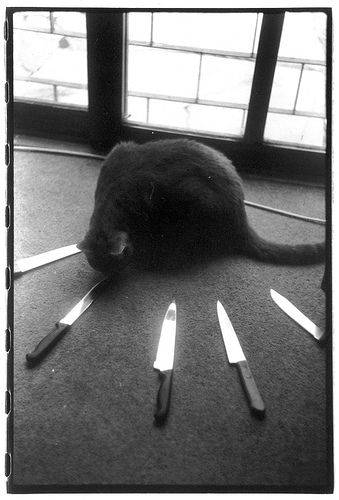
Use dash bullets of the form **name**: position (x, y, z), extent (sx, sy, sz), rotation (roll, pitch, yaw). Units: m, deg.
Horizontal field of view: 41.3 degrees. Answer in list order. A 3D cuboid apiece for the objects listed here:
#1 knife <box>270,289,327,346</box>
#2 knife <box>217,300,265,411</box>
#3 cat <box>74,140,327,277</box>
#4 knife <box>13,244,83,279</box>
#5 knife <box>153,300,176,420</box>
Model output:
- **knife**: position (0.183, 0.100, 0.646), extent (0.013, 0.010, 0.082), rotation (-30, 71, -18)
- **knife**: position (0.094, 0.147, 0.610), extent (0.025, 0.011, 0.185), rotation (-4, 55, -9)
- **cat**: position (0.038, -0.057, 0.657), extent (0.299, 0.176, 0.217), rotation (3, 39, 1)
- **knife**: position (-0.183, 0.019, 0.675), extent (0.088, 0.008, 0.014), rotation (-26, 68, -18)
- **knife**: position (-0.007, 0.144, 0.611), extent (0.028, 0.106, 0.119), rotation (6, 17, 0)
